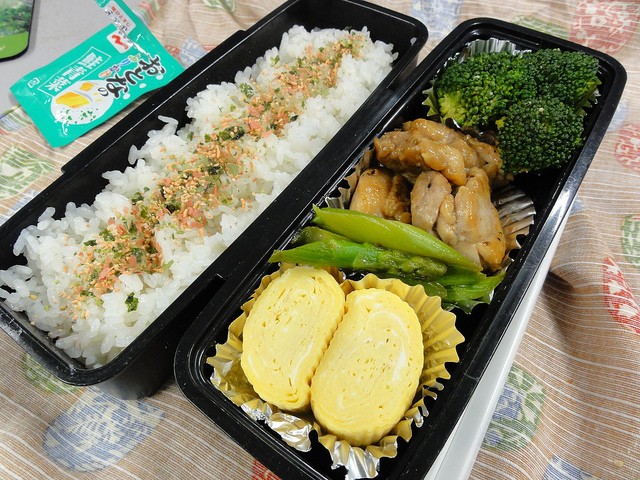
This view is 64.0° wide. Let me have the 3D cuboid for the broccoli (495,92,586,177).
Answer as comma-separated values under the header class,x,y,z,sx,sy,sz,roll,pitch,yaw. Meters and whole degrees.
class,x,y,z,sx,sy,sz,roll,pitch,yaw
broccoli,1.240,-0.602,2.884,0.403,0.198,0.457,-23,77,6
